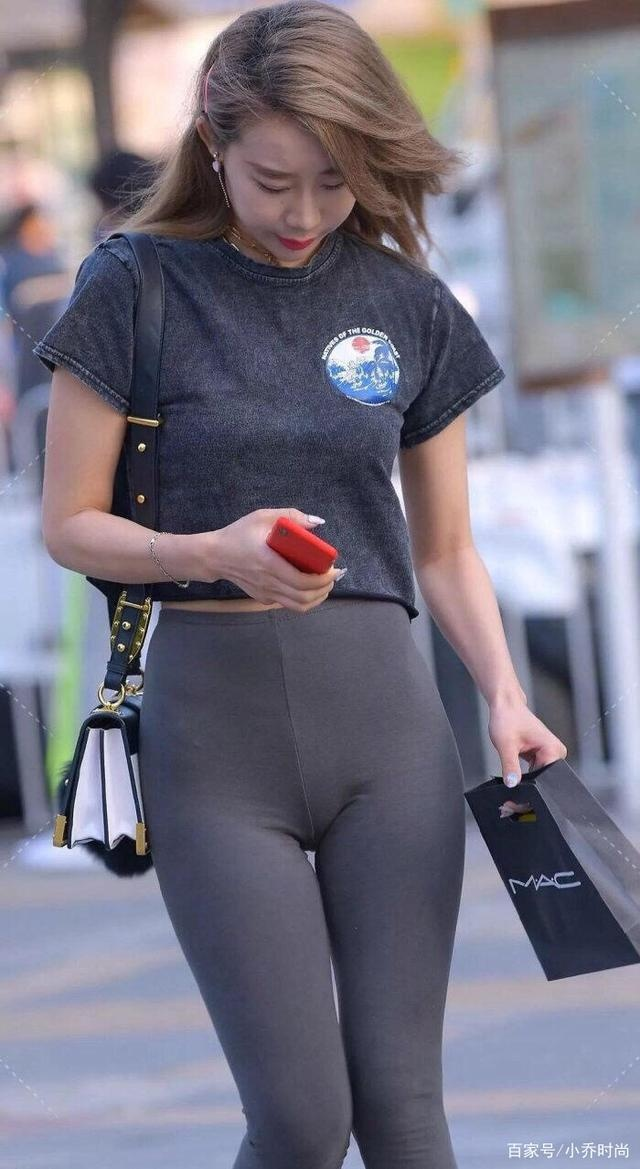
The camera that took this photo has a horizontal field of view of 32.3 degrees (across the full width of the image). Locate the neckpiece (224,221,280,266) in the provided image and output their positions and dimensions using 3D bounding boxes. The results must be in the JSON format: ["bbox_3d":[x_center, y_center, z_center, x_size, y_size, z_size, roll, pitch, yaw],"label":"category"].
[{"bbox_3d":[-0.095,-0.466,1.525,0.070,0.056,0.019,37,81,-10],"label":"neckpiece"}]
